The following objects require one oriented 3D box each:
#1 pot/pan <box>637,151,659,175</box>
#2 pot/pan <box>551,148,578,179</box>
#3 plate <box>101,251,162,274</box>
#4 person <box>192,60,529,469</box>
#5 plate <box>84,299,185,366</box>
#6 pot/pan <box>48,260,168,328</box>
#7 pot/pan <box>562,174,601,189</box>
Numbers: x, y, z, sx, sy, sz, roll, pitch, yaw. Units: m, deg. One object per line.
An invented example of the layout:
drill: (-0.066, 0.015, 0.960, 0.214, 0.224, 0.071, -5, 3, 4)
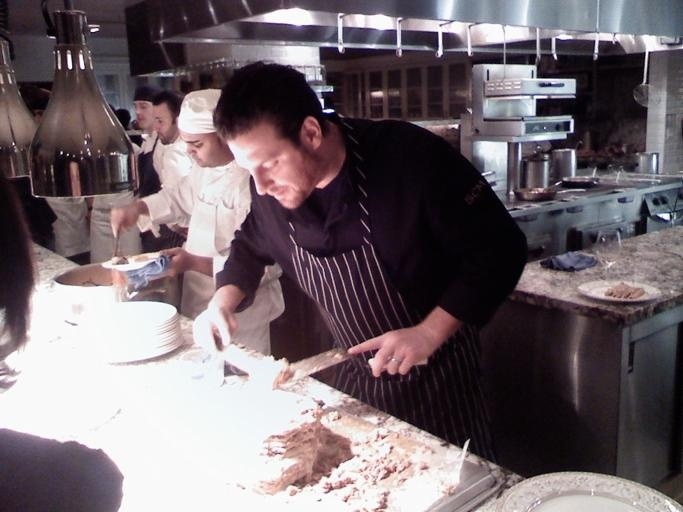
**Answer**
pot/pan: (2.988, -0.891, 5.429, 0.212, 0.208, 0.210, -4, 4, -10)
pot/pan: (2.071, -0.846, 5.170, 0.212, 0.257, 0.541, -1, 13, 21)
plate: (-0.826, 0.027, 2.197, 0.123, 0.023, 0.134, -5, 16, 21)
person: (0.027, 0.063, 1.734, 0.987, 1.301, 0.595, 1, 14, 31)
plate: (-0.680, 0.257, 1.881, 0.211, 0.084, 0.213, 1, 16, 2)
pot/pan: (-0.904, 0.135, 2.049, 0.283, 0.106, 0.286, -2, 11, -11)
pot/pan: (2.073, -0.632, 4.835, 0.296, 0.092, 0.380, -3, 13, 13)
